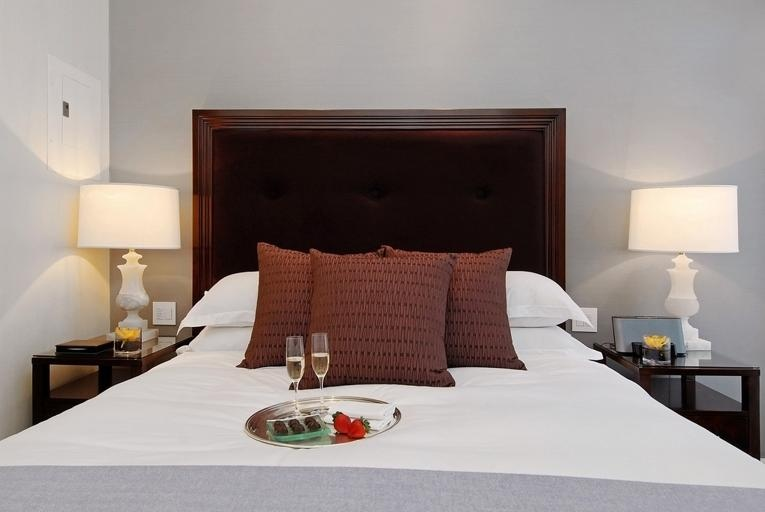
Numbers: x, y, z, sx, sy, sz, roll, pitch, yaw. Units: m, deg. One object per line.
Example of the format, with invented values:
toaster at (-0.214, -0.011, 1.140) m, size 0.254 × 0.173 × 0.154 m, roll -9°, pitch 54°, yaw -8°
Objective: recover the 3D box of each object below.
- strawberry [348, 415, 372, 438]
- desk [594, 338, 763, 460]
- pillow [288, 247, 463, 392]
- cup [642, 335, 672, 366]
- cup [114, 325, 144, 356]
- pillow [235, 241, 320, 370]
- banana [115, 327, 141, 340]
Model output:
strawberry at (-0.090, 0.679, 2.413) m, size 0.077 × 0.068 × 0.076 m, roll -8°, pitch -16°, yaw -22°
desk at (1.610, 0.635, 3.388) m, size 0.769 × 0.736 × 0.576 m, roll 0°, pitch -2°, yaw -8°
pillow at (-0.018, 0.324, 2.850) m, size 0.584 × 0.547 × 0.220 m, roll 1°, pitch -18°, yaw 2°
cup at (1.502, 0.520, 3.286) m, size 0.127 × 0.156 × 0.152 m, roll 4°, pitch -6°, yaw -36°
cup at (-1.391, 0.474, 3.348) m, size 0.141 × 0.145 × 0.143 m, roll 0°, pitch -7°, yaw 0°
pillow at (-0.522, 0.270, 3.057) m, size 0.538 × 0.595 × 0.229 m, roll 6°, pitch -23°, yaw 14°
banana at (-1.403, 0.430, 3.365) m, size 0.083 × 0.055 × 0.085 m, roll 0°, pitch -2°, yaw 10°
